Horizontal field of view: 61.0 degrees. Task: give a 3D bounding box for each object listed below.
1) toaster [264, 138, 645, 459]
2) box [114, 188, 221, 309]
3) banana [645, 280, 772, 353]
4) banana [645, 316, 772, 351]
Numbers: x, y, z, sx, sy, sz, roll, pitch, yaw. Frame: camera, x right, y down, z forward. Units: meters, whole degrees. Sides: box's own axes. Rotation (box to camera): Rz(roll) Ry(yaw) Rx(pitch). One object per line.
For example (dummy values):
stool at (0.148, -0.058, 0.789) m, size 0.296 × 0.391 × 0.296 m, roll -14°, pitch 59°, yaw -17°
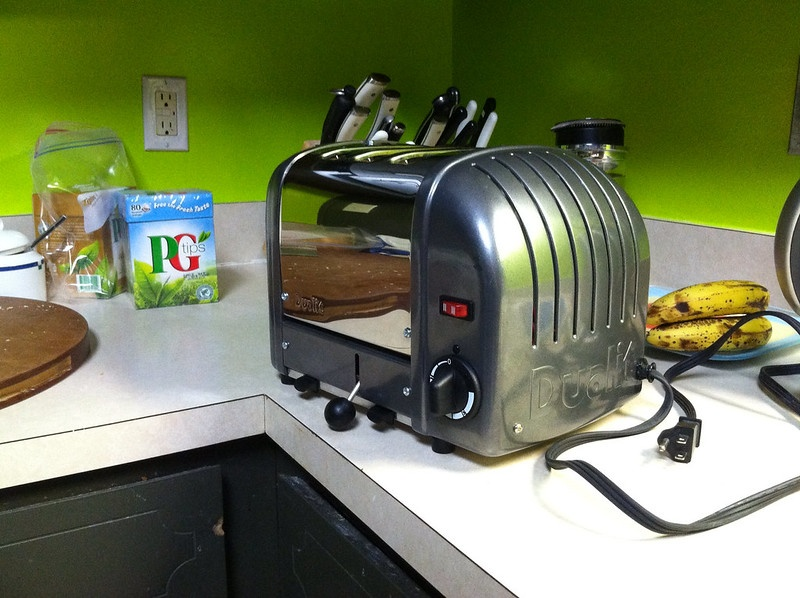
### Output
toaster at (0.059, -0.030, 0.985) m, size 0.365 × 0.373 × 0.500 m, roll -12°, pitch 17°, yaw -33°
box at (-0.469, -0.098, 1.355) m, size 0.193 × 0.289 × 0.144 m, roll -7°, pitch 13°, yaw -31°
banana at (0.451, 0.033, 1.009) m, size 0.181 × 0.117 × 0.051 m, roll -1°, pitch 16°, yaw -1°
banana at (0.474, 0.060, 1.020) m, size 0.191 × 0.056 × 0.077 m, roll 0°, pitch 20°, yaw -1°
